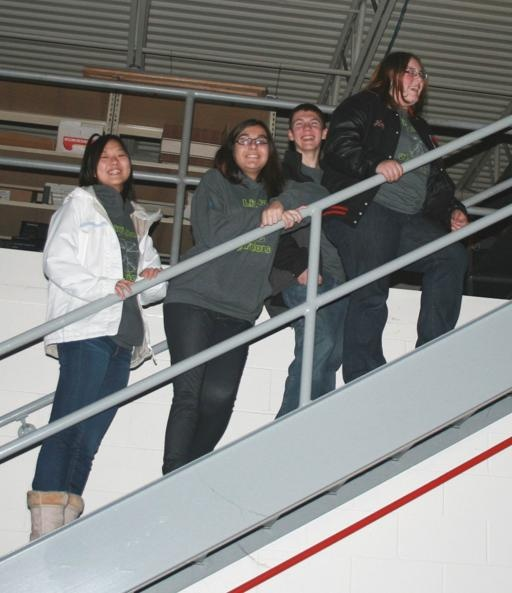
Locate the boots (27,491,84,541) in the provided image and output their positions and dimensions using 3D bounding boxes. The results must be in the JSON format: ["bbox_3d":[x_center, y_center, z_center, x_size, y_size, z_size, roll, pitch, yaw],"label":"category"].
[{"bbox_3d":[-0.583,0.637,2.340,0.171,0.141,0.114,17,-41,-32],"label":"boots"}]

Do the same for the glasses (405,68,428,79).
[{"bbox_3d":[0.567,-0.807,2.915,0.051,0.012,0.048,4,3,-35],"label":"glasses"}]

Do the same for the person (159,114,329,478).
[{"bbox_3d":[-0.079,-0.037,2.656,0.444,0.841,0.773,12,5,2],"label":"person"}]
